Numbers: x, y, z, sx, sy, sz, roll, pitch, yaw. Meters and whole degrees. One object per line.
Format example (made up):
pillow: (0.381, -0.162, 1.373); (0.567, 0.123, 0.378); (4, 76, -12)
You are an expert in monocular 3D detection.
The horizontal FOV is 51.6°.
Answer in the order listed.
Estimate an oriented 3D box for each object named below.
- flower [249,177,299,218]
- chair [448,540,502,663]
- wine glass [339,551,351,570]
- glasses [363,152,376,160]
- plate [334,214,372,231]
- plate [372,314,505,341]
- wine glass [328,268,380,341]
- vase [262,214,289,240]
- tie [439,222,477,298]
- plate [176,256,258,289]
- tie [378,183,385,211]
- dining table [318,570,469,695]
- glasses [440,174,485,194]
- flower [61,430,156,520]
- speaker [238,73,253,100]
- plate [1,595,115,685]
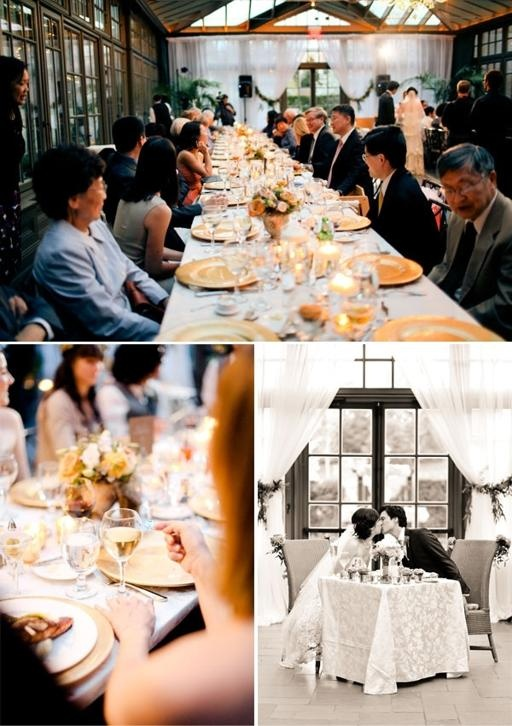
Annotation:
flower: (0.055, -0.525, 1.706); (0.120, 0.114, 0.124); (-21, 24, -18)
chair: (1.612, 1.771, 3.949); (0.468, 0.787, 0.409); (21, -27, -25)
wine glass: (0.649, 1.453, 3.862); (0.088, 0.124, 0.118); (-1, -6, 10)
glasses: (0.397, -0.723, 1.862); (0.037, 0.013, 0.040); (4, 13, -1)
plate: (0.334, -0.484, 1.870); (0.091, 0.014, 0.100); (-11, 37, -2)
plate: (0.458, -0.073, 1.306); (0.481, 0.074, 0.049); (4, -8, -36)
wine glass: (0.201, -0.124, 1.106); (0.093, 0.155, 0.144); (-1, -6, 8)
vase: (0.070, -0.444, 1.797); (0.094, 0.119, 0.103); (-1, 12, 0)
tie: (0.566, -0.289, 1.512); (0.105, 0.191, 0.055); (17, 12, 12)
plate: (-0.123, -0.230, 1.420); (0.135, 0.016, 0.150); (-4, 35, -7)
tie: (0.429, -0.568, 1.817); (0.031, 0.107, 0.076); (-1, 13, 16)
dining table: (0.961, 1.817, 3.598); (1.010, 0.716, 0.460); (1, -6, -13)
glasses: (0.552, -0.466, 1.411); (0.055, 0.039, 0.082); (2, -8, 1)
flower: (-0.597, 0.428, 2.108); (0.297, 0.358, 0.328); (-4, -10, 8)
speaker: (-0.033, -0.890, 1.719); (0.056, 0.097, 0.045); (-4, -3, 1)
plate: (-0.728, 0.993, 1.896); (0.511, 0.331, 0.138); (-2, -6, 15)
